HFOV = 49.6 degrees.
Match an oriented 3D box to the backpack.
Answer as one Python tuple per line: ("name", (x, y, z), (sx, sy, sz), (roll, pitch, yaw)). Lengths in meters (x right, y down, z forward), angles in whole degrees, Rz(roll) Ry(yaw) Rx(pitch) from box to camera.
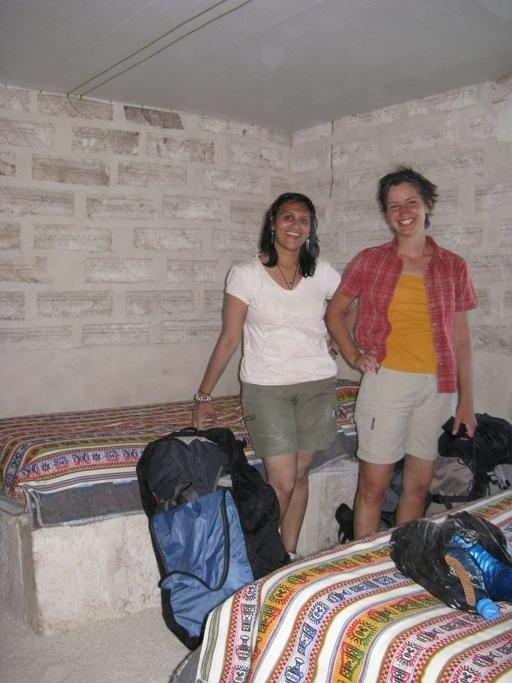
("backpack", (-0.158, 0.619, 1.969), (0.510, 0.678, 0.253), (-14, -6, -4))

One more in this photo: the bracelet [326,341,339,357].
("bracelet", (0.348, 0.036, 2.417), (0.027, 0.063, 0.049), (-32, 19, -12))

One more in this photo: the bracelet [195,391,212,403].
("bracelet", (-0.213, 0.222, 2.200), (0.047, 0.027, 0.052), (4, 12, -14))

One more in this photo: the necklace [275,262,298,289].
("necklace", (0.110, -0.245, 2.079), (0.126, 0.007, 0.141), (11, 44, -22))
